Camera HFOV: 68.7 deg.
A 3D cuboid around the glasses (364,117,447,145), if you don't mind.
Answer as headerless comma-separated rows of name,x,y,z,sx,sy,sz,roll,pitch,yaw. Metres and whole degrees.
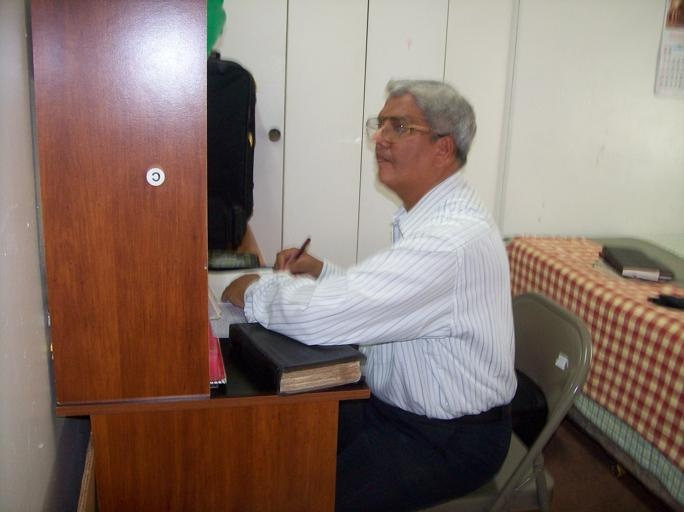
glasses,0.138,-0.338,1.323,0.128,0.045,0.105,1,8,-23
